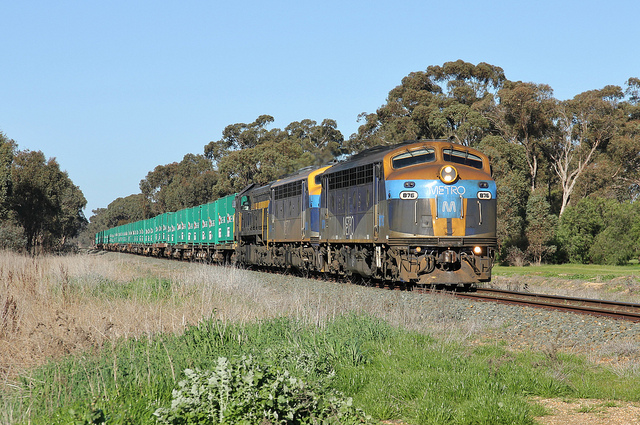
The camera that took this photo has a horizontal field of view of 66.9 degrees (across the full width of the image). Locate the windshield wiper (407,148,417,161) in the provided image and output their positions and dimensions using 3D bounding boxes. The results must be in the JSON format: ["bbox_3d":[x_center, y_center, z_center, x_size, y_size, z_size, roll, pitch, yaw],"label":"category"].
[{"bbox_3d":[3.225,-2.090,17.190,0.056,0.402,0.054,-36,2,16],"label":"windshield wiper"}]

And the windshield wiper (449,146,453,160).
[{"bbox_3d":[4.627,-2.119,17.193,0.082,0.494,0.090,3,-5,-3],"label":"windshield wiper"}]

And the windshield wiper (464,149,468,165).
[{"bbox_3d":[5.213,-1.994,17.391,0.086,0.556,0.085,9,-2,16],"label":"windshield wiper"}]
